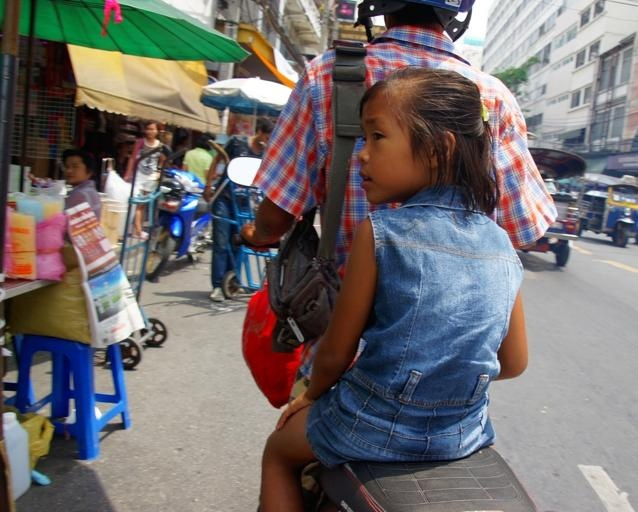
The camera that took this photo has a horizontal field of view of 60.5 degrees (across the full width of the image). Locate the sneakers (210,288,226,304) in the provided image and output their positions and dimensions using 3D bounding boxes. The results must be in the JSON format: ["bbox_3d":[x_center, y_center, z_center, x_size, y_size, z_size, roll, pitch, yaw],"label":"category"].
[{"bbox_3d":[-1.206,0.481,6.615,0.232,0.143,0.412,0,1,-9],"label":"sneakers"}]

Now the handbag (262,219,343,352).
[{"bbox_3d":[-0.047,0.073,1.516,0.157,0.298,0.256,20,-5,-23],"label":"handbag"}]

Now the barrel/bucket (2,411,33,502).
[{"bbox_3d":[-1.482,0.974,2.702,0.118,0.420,0.255,1,12,-27],"label":"barrel/bucket"}]
